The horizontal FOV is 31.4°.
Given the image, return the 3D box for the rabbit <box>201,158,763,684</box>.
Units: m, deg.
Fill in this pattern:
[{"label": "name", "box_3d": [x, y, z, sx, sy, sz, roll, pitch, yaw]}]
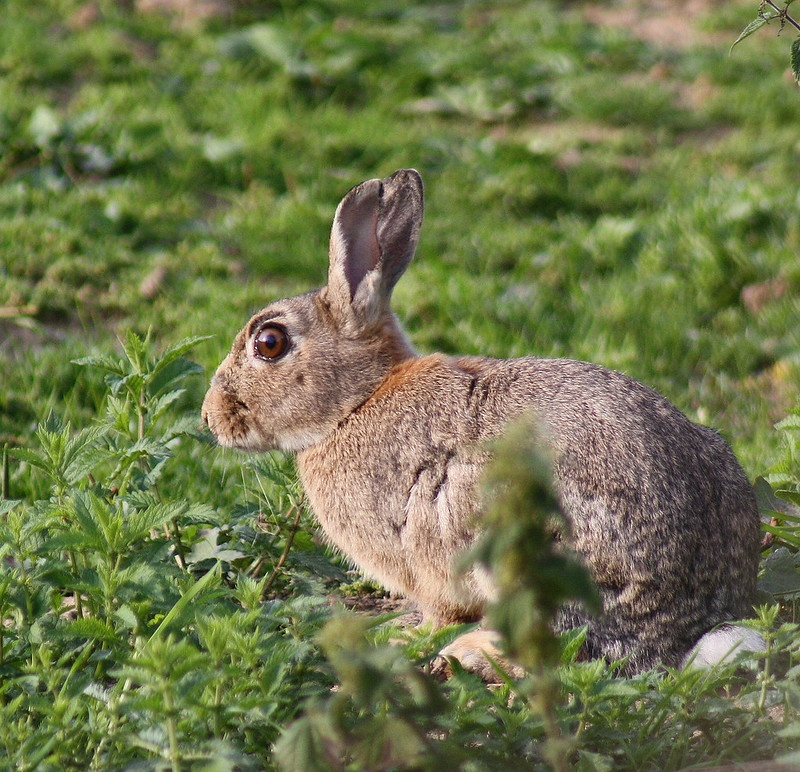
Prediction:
[{"label": "rabbit", "box_3d": [0.295, 0.123, 4.339, 1.896, 0.936, 0.888, 26, 49, 38]}]
